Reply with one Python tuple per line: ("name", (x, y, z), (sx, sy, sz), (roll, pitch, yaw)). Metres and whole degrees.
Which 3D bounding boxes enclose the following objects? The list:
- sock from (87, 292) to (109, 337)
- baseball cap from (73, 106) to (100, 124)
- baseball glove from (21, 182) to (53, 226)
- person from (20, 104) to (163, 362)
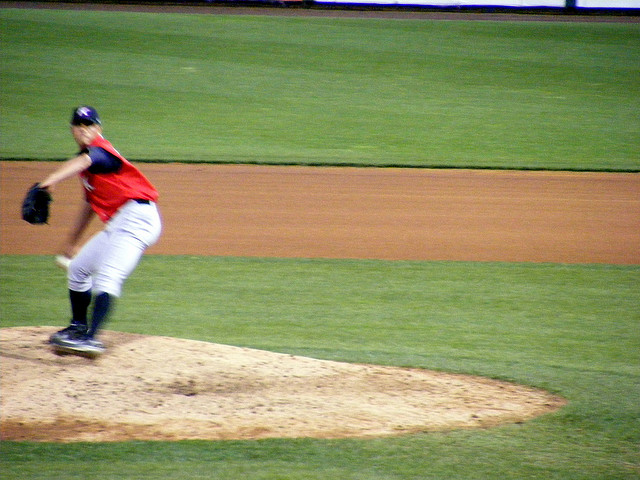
("sock", (-2.426, 0.838, 13.811), (0.199, 0.542, 0.171), (24, 13, -10))
("baseball cap", (-2.547, -1.371, 13.574), (0.275, 0.173, 0.213), (-3, 13, -31))
("baseball glove", (-3.068, -0.402, 13.546), (0.473, 0.410, 0.221), (1, -21, 9))
("person", (-2.470, -0.052, 13.686), (1.443, 2.826, 0.636), (3, 14, -6))
